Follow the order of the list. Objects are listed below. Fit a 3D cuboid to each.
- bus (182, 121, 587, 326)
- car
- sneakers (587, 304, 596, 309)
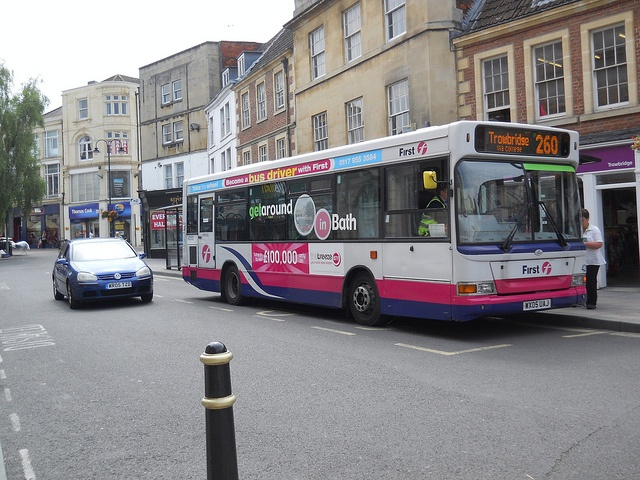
[{"bbox_3d":[0.098,-0.156,13.040,3.066,3.727,11.297,-3,2,-44],"label":"bus"},{"bbox_3d":[-6.222,0.843,15.485,1.563,1.337,3.007,0,-5,-28],"label":"car"},{"bbox_3d":[5.575,1.359,11.217,0.086,0.094,0.211,2,-8,-26],"label":"sneakers"}]
